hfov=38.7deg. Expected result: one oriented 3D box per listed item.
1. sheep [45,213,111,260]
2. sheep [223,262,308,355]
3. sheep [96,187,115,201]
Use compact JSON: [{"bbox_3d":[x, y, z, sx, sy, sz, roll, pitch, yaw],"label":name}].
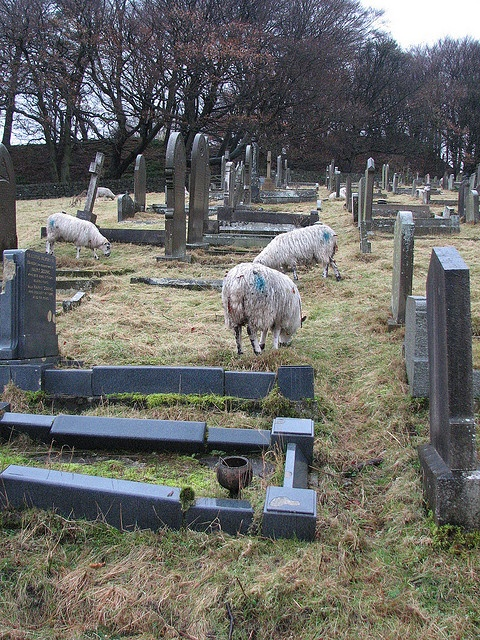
[{"bbox_3d":[-2.913,-1.498,12.201,1.122,0.807,0.742,-4,8,-21],"label":"sheep"},{"bbox_3d":[0.195,-0.099,6.136,0.473,0.847,0.919,4,9,32],"label":"sheep"},{"bbox_3d":[-5.090,-4.759,25.701,0.623,0.461,1.814,-2,9,-10],"label":"sheep"}]
